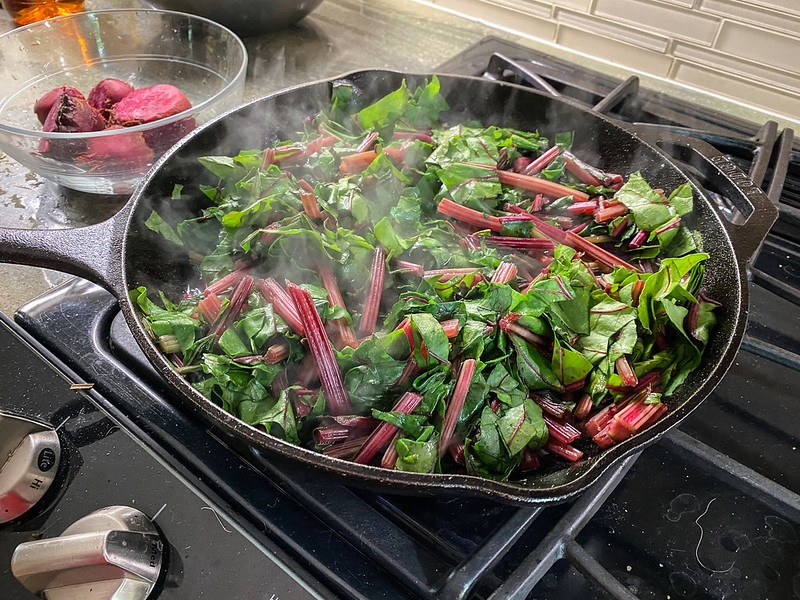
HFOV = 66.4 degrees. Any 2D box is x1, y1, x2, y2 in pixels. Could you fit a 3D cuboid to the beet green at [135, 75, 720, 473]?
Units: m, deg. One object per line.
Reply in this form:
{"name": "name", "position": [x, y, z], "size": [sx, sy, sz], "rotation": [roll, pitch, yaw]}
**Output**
{"name": "beet green", "position": [0.055, -0.057, 1.454], "size": [1.068, 0.666, 1.032], "rotation": [2, 31, -2]}
